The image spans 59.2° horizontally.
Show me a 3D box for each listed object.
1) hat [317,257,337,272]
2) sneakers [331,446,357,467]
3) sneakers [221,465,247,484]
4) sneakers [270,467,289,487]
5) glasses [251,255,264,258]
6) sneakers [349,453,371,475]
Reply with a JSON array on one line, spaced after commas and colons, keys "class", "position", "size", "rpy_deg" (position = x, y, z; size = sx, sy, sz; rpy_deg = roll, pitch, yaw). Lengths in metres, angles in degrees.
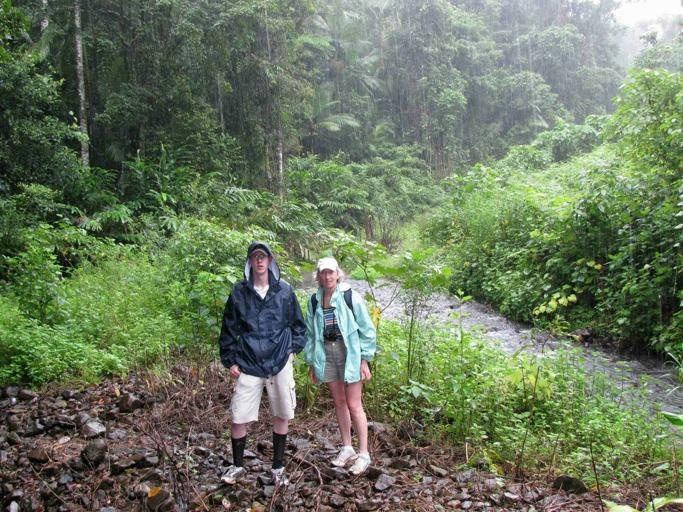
[{"class": "hat", "position": [-0.175, 0.109, 7.726], "size": [0.252, 0.159, 0.215], "rpy_deg": [-2, 14, -10]}, {"class": "sneakers", "position": [0.045, 2.613, 7.796], "size": [0.364, 0.189, 0.178], "rpy_deg": [-38, 3, -22]}, {"class": "sneakers", "position": [-1.340, 2.746, 7.461], "size": [0.164, 0.128, 0.271], "rpy_deg": [1, 25, 37]}, {"class": "sneakers", "position": [-0.759, 2.772, 7.482], "size": [0.108, 0.342, 0.136], "rpy_deg": [-19, -5, 17]}, {"class": "glasses", "position": [-1.050, 0.005, 7.504], "size": [0.141, 0.050, 0.025], "rpy_deg": [-2, 14, -11]}, {"class": "sneakers", "position": [0.253, 2.660, 7.652], "size": [0.153, 0.145, 0.330], "rpy_deg": [8, 35, 43]}]
